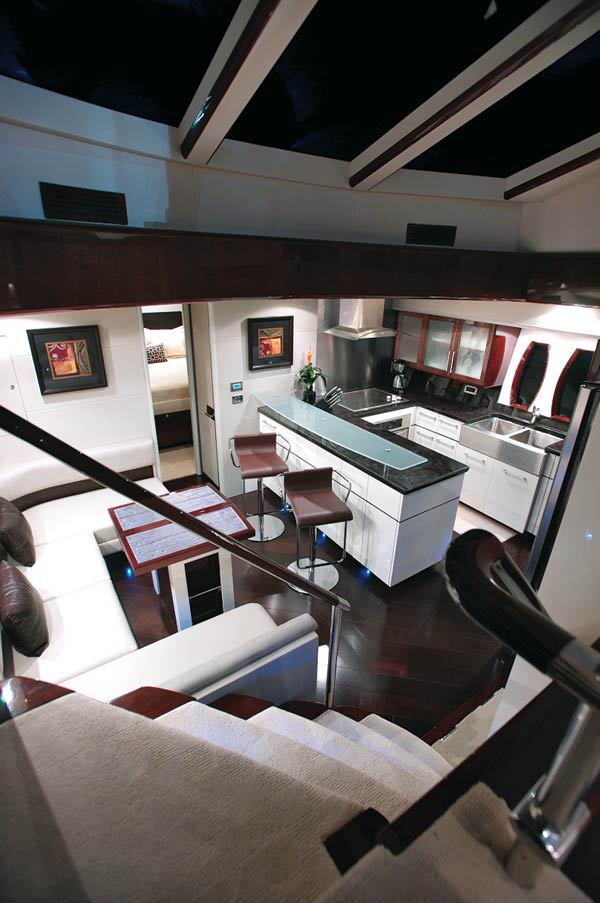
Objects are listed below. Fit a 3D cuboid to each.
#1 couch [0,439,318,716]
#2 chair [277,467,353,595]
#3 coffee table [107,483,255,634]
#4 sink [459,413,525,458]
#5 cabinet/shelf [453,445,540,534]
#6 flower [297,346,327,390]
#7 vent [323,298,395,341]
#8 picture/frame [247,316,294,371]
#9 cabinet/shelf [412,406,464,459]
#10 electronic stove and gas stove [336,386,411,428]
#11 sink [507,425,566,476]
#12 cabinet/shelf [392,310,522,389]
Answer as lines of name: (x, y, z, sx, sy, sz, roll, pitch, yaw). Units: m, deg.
couch: (-0.769, 0.861, 2.639, 0.914, 0.632, 1.631, -15, 34, -35)
chair: (0.098, 0.567, 3.761, 0.405, 0.782, 0.438, -8, 27, -20)
coffee table: (-0.666, 0.639, 3.231, 0.751, 0.604, 0.758, -26, 37, -36)
sink: (1.573, -0.128, 4.544, 0.425, 0.111, 0.386, -20, 33, -27)
cabinet/shelf: (1.557, 0.297, 4.248, 0.353, 0.394, 0.564, -16, 41, -28)
flower: (0.098, -0.792, 5.119, 0.215, 0.351, 0.220, -8, 53, -7)
vent: (0.541, -1.265, 5.189, 0.515, 0.484, 0.475, -19, 36, -31)
picture/frame: (-0.273, -0.947, 4.717, 0.445, 0.433, 0.046, -15, 35, -30)
cabinet/shelf: (1.250, -0.170, 4.862, 0.177, 0.340, 0.370, -29, 45, -33)
electronic stove and gas stove: (0.696, -0.443, 5.252, 0.535, 0.121, 0.468, -18, 34, -26)
sink: (1.735, 0.005, 3.983, 0.291, 0.184, 0.301, -20, 37, -28)
cabinet/shelf: (1.446, -0.934, 4.934, 0.248, 0.464, 0.770, -21, 37, -39)
